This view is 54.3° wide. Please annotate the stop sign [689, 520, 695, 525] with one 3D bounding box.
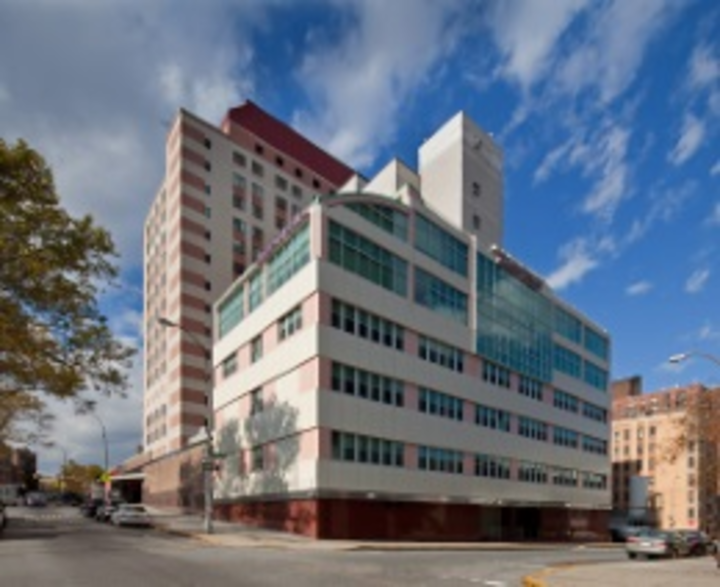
[{"bbox_3d":[53.867,36.852,113.010,1.042,1.163,0.447,-20,-30,41],"label":"stop sign"}]
